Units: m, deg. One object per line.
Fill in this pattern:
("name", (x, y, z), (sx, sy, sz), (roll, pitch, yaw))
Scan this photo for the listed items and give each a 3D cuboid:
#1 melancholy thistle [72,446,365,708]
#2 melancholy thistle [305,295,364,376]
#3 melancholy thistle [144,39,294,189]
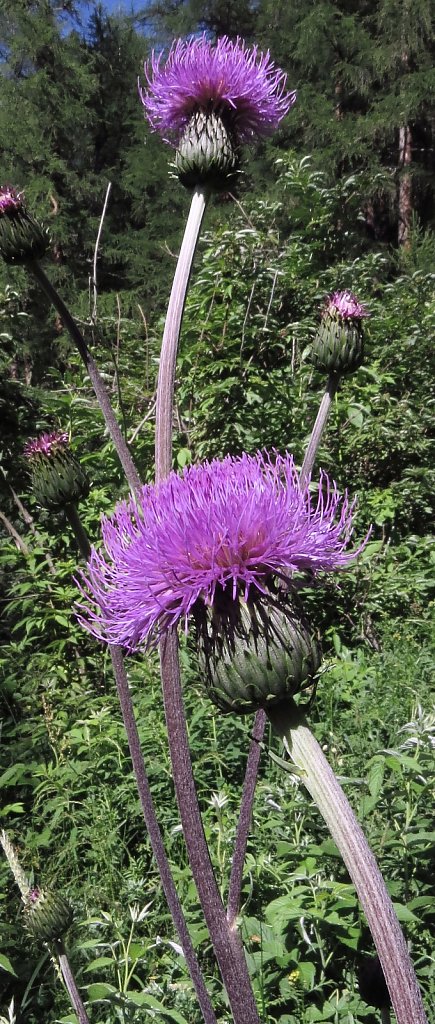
("melancholy thistle", (0.046, 0.132, 1.418), (0.388, 0.437, 0.421), (-17, -16, 0))
("melancholy thistle", (0.363, -0.528, 2.410), (0.122, 0.283, 0.145), (9, -12, 16))
("melancholy thistle", (0.004, -1.075, 2.135), (0.399, 0.460, 0.391), (-5, 13, -7))
